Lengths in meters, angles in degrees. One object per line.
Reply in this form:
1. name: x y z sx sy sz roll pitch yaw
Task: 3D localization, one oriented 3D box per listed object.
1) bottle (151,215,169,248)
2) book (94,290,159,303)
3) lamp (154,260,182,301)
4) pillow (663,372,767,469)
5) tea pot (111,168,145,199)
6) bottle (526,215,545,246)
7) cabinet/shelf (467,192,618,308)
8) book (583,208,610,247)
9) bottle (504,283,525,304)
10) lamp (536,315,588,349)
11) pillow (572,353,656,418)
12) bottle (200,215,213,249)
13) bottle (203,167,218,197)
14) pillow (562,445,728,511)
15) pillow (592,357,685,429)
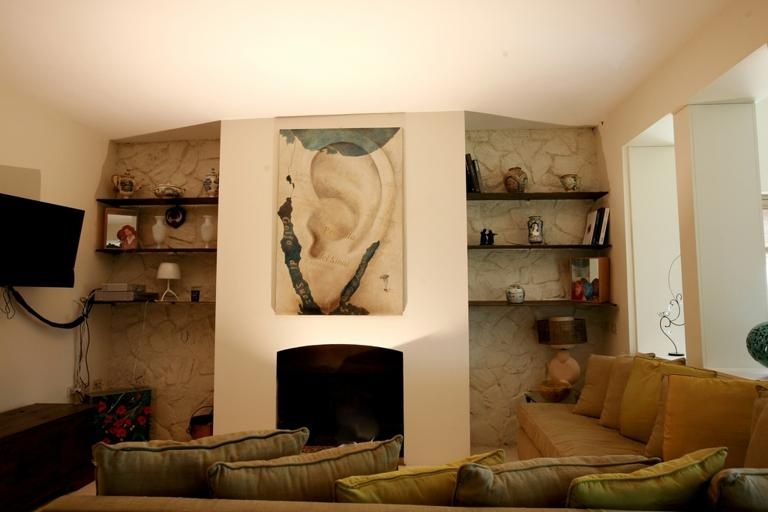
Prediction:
1. bottle: -2.506 -0.275 6.335 0.155 0.375 0.278 2 -5 -22
2. book: -2.766 0.436 6.098 0.620 0.137 0.428 2 -5 -22
3. lamp: -2.373 0.267 6.255 0.229 0.417 0.318 2 -5 -21
4. pillow: 2.154 1.090 3.698 0.559 0.512 0.200 4 -12 15
5. tea pot: -2.895 -0.821 6.310 0.330 0.344 0.241 0 -5 0
6. bottle: 1.610 -0.273 6.051 0.174 0.325 0.270 -1 -5 14
7. cabinet/shelf: 1.721 -0.030 6.035 1.293 0.986 0.410 0 -6 2
8. book: 2.206 -0.309 5.896 0.081 0.330 0.336 7 2 0
9. bottle: 1.358 0.395 5.930 0.193 0.177 0.191 1 -3 19
10. lamp: 1.799 0.754 5.752 0.367 0.234 0.359 -1 -5 7
11. pillow: 1.995 1.149 4.872 0.215 0.558 0.569 20 -9 -29
12. bottle: -1.952 -0.273 6.279 0.153 0.369 0.288 2 -5 -19
13. bottle: -1.916 -0.818 6.262 0.153 0.370 0.311 2 -5 -20
14. pillow: 1.385 1.223 3.021 0.491 0.141 0.482 -8 -16 8
15. pillow: 1.990 1.102 4.444 0.182 0.562 0.607 11 -1 -18
